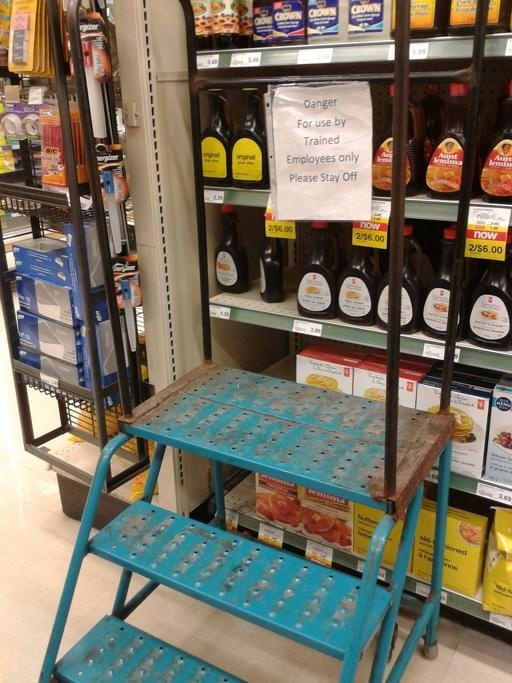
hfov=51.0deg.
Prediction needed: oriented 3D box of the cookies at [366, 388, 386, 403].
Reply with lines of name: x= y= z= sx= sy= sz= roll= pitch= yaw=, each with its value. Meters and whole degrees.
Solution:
cookies: x=0.345 y=0.154 z=1.549 sx=0.058 sy=0.030 sz=0.015 roll=2 pitch=29 yaw=45
